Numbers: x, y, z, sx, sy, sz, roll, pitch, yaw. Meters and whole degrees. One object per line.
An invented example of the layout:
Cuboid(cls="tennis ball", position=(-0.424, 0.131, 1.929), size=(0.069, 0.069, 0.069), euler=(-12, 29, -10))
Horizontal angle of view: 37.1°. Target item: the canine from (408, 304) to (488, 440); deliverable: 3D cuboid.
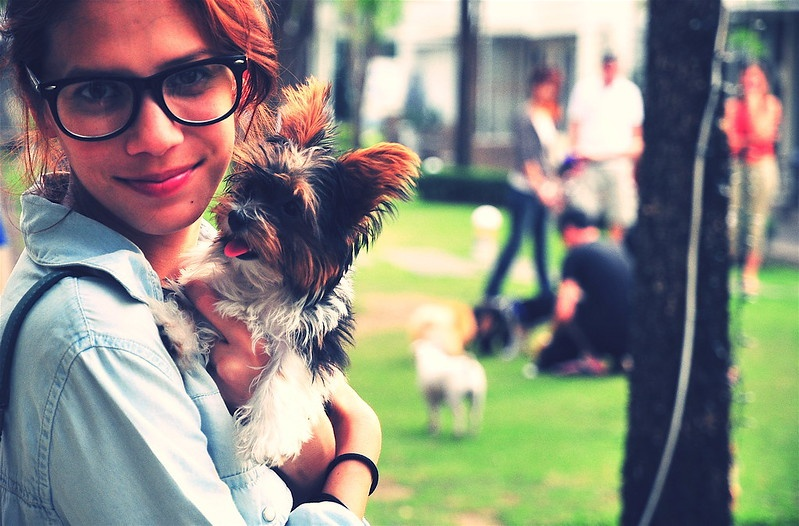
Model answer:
Cuboid(cls="canine", position=(0.310, 0.651, 7.381), size=(0.461, 0.721, 0.470), euler=(-3, 15, -1))

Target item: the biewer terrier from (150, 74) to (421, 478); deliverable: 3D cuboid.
Cuboid(cls="biewer terrier", position=(-0.578, -0.092, 5.506), size=(1.201, 1.707, 1.058), euler=(-7, 19, -38))
